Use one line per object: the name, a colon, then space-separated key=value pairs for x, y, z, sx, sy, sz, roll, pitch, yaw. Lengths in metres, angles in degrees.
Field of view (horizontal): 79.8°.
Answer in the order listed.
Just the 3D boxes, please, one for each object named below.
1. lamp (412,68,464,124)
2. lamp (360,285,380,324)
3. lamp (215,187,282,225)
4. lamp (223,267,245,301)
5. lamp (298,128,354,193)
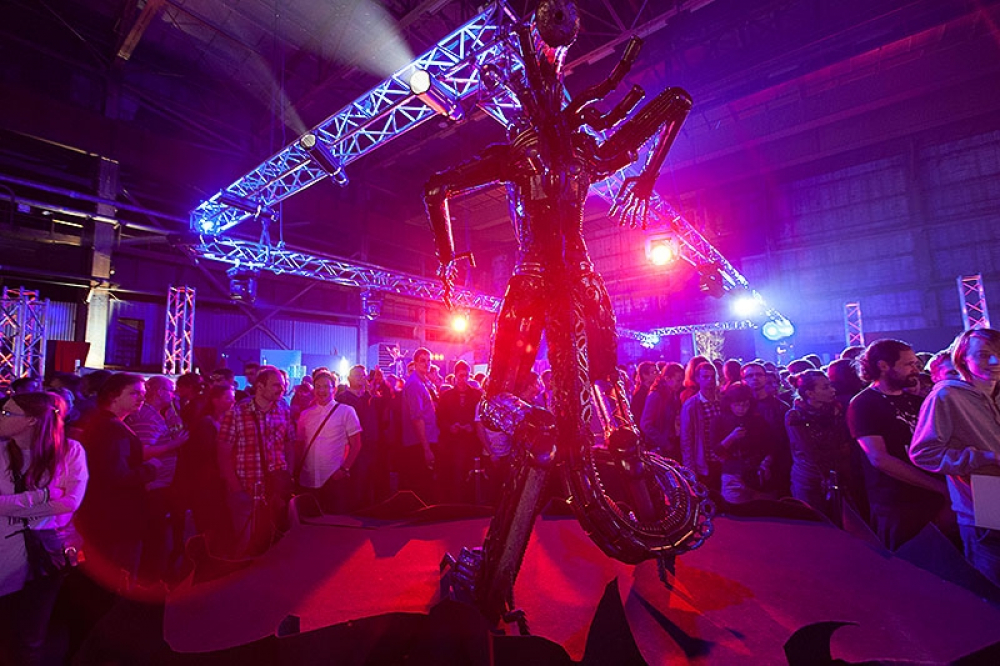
lamp: x=-1.203 y=-4.716 z=11.792 sx=0.801 sy=0.231 sz=0.805 roll=38 pitch=4 yaw=31
lamp: x=-4.405 y=-1.049 z=20.522 sx=0.643 sy=0.803 sz=0.516 roll=8 pitch=-4 yaw=-38
lamp: x=-6.212 y=-3.097 z=14.895 sx=1.293 sy=0.454 sz=0.499 roll=20 pitch=-52 yaw=-42
lamp: x=-7.059 y=-1.349 z=16.150 sx=0.512 sy=0.795 sz=0.663 roll=7 pitch=-4 yaw=-23
lamp: x=-3.916 y=-3.895 z=13.251 sx=0.504 sy=0.847 sz=1.190 roll=4 pitch=-4 yaw=24
